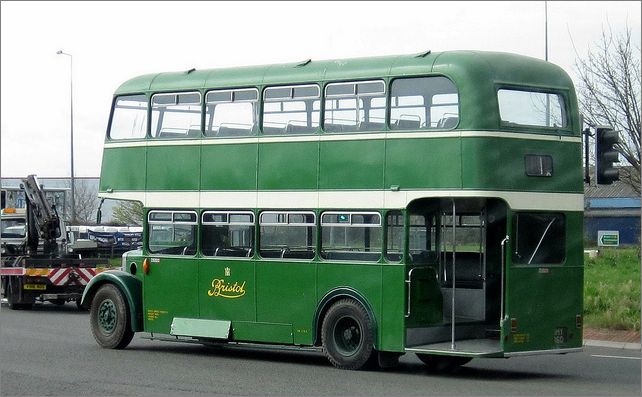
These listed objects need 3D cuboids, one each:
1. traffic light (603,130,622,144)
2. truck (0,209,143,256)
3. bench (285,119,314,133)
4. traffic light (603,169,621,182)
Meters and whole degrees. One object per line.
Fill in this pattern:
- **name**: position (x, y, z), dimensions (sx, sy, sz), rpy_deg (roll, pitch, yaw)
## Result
- **traffic light**: position (7.156, -1.530, 16.075), dimensions (0.362, 0.357, 0.481), rpy_deg (-2, -9, 38)
- **truck**: position (-15.625, 2.357, 42.087), dimensions (10.131, 3.807, 2.944), rpy_deg (0, -2, 5)
- **bench**: position (-0.457, -1.611, 14.818), dimensions (0.465, 0.129, 0.332), rpy_deg (3, -7, 8)
- **traffic light**: position (7.202, -0.575, 16.179), dimensions (0.379, 0.295, 0.285), rpy_deg (-4, 24, 21)
